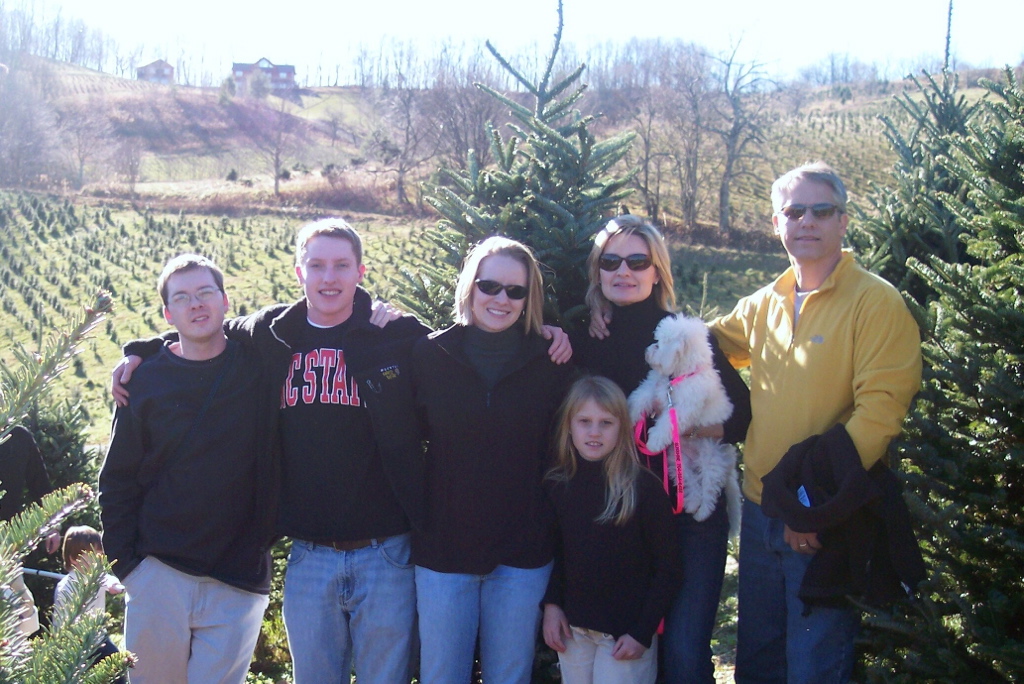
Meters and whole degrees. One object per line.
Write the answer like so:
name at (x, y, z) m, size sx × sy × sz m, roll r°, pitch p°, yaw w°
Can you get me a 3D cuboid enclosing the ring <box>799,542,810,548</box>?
ring at (2.016, 1.405, 6.040) m, size 0.059 × 0.060 × 0.022 m, roll 2°, pitch 15°, yaw 8°
